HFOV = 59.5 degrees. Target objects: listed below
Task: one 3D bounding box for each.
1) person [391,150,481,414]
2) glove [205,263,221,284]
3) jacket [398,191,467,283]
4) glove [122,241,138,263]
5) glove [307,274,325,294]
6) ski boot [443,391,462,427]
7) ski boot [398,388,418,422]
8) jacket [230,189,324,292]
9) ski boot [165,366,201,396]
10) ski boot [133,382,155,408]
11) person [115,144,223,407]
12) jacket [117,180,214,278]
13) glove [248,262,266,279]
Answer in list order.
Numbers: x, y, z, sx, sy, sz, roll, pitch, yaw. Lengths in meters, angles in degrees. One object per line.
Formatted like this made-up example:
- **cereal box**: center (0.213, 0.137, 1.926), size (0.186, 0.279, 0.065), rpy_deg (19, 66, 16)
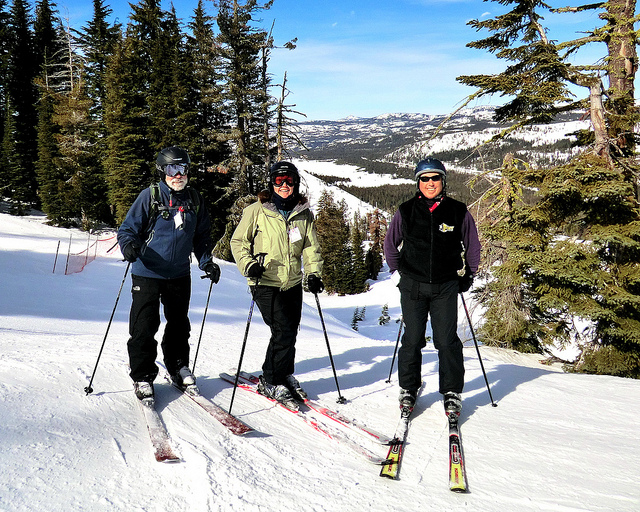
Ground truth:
- **person**: center (1.579, 0.432, 7.847), size (1.231, 3.567, 0.587), rpy_deg (4, 7, 7)
- **glove**: center (-1.524, 0.260, 7.909), size (0.221, 0.268, 0.091), rpy_deg (6, 4, 34)
- **jacket**: center (1.579, -0.233, 7.768), size (1.310, 1.499, 0.883), rpy_deg (0, 4, 6)
- **glove**: center (-2.494, -0.039, 7.322), size (0.170, 0.293, 0.322), rpy_deg (1, 7, -19)
- **glove**: center (-0.075, 0.402, 7.933), size (0.204, 0.254, 0.272), rpy_deg (0, -12, -6)
- **ski boot**: center (1.845, 2.116, 7.766), size (0.174, 0.484, 0.216), rpy_deg (0, -3, 14)
- **ski boot**: center (1.238, 2.115, 7.951), size (0.237, 0.390, 0.553), rpy_deg (4, 6, 9)
- **jacket**: center (-0.608, -0.212, 7.892), size (1.239, 1.368, 0.454), rpy_deg (0, 7, -24)
- **ski boot**: center (-1.935, 1.760, 7.902), size (0.616, 0.254, 0.213), rpy_deg (25, 21, 37)
- **ski boot**: center (-2.331, 1.812, 7.397), size (0.153, 0.194, 0.439), rpy_deg (10, 32, -49)
- **person**: center (-2.111, 0.209, 7.650), size (1.233, 3.378, 0.634), rpy_deg (-2, 8, -39)
- **jacket**: center (-2.144, -0.363, 7.781), size (1.405, 1.304, 0.741), rpy_deg (-1, 18, -40)
- **glove**: center (-0.870, 0.192, 7.593), size (0.226, 0.202, 0.089), rpy_deg (2, 7, -14)
